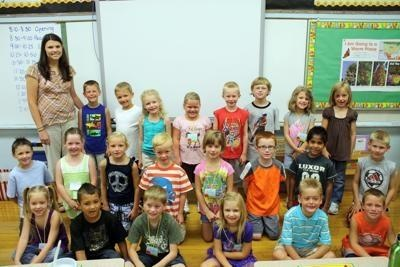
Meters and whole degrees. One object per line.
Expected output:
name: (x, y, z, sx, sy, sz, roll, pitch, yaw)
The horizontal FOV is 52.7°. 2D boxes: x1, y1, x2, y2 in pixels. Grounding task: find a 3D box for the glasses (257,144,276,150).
glasses: (0.740, 0.146, 4.510, 0.204, 0.060, 0.083, -1, 12, 7)
